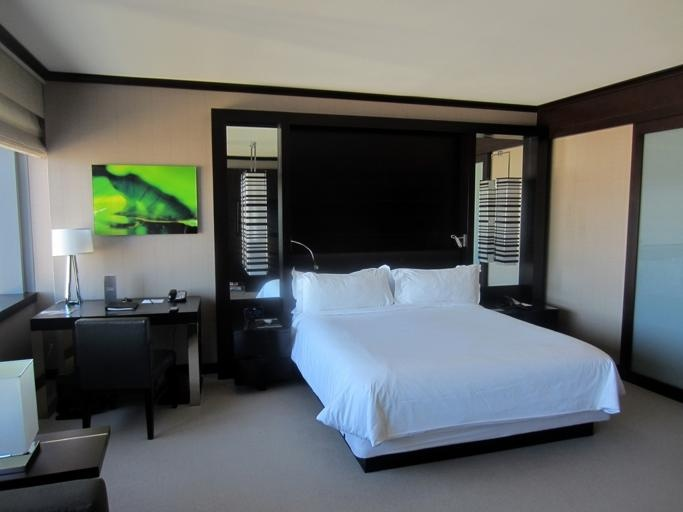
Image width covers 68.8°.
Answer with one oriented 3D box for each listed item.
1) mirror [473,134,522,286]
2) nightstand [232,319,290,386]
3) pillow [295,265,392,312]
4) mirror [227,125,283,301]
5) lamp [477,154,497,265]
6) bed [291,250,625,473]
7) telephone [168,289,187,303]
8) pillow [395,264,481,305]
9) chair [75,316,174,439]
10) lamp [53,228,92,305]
[{"bbox_3d":[2.003,-0.542,6.290,0.411,1.385,0.419,6,15,33],"label":"mirror"},{"bbox_3d":[-0.829,0.992,5.037,0.558,0.577,0.576,-1,3,-13],"label":"nightstand"},{"bbox_3d":[0.027,0.375,5.394,1.100,0.523,0.343,0,-8,-16],"label":"pillow"},{"bbox_3d":[-0.954,-0.384,5.341,0.431,1.486,0.069,-5,15,-29],"label":"mirror"},{"bbox_3d":[1.758,-0.565,6.136,0.264,1.277,0.201,-6,15,-25],"label":"lamp"},{"bbox_3d":[0.650,0.928,4.489,2.043,0.910,1.966,-2,3,-22],"label":"bed"},{"bbox_3d":[-1.665,0.411,5.064,0.118,0.064,0.171,2,10,-7],"label":"telephone"},{"bbox_3d":[1.068,0.340,5.582,0.963,0.481,0.230,-2,0,1],"label":"pillow"},{"bbox_3d":[-1.916,1.032,4.421,0.615,1.009,0.834,0,-1,-10],"label":"chair"},{"bbox_3d":[-2.642,0.110,4.868,0.412,0.746,0.426,0,4,6],"label":"lamp"}]
